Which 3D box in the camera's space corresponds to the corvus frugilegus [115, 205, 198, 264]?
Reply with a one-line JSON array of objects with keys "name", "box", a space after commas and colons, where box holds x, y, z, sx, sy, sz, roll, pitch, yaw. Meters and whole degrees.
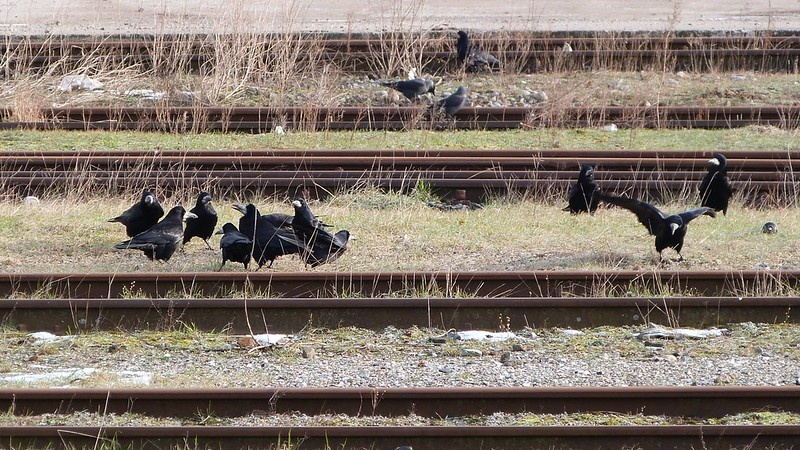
[{"name": "corvus frugilegus", "box": [-4.390, 0.203, 26.060, 1.491, 0.999, 0.578, -7, 17, -17]}]

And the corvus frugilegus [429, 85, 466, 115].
[{"name": "corvus frugilegus", "box": [1.178, -2.688, 31.061, 0.920, 0.606, 0.379, 7, 16, 15]}]

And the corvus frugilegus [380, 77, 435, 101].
[{"name": "corvus frugilegus", "box": [0.212, -3.041, 32.285, 1.122, 0.533, 0.644, -2, 16, 0]}]

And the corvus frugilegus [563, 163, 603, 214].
[{"name": "corvus frugilegus", "box": [3.462, -0.650, 27.417, 0.680, 0.975, 0.420, 1, 18, 13]}]

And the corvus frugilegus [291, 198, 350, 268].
[{"name": "corvus frugilegus", "box": [-1.439, 0.170, 25.849, 0.958, 1.241, 0.421, -5, 17, -6]}]
